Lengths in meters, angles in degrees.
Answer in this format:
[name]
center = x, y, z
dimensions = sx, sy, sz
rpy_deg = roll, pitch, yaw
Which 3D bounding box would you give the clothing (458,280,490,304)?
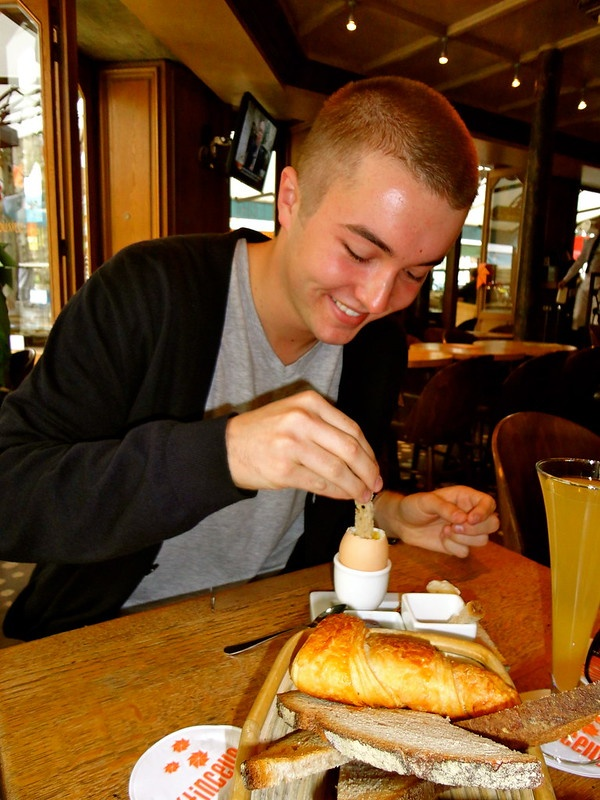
[clothing]
center = 3.347, -2.250, 12.377
dimensions = 0.384, 0.592, 0.689
rpy_deg = 8, 19, 31

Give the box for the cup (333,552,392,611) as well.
[cup]
center = 0.106, 0.292, 1.025
dimensions = 0.078, 0.064, 0.071
rpy_deg = 5, 12, -1

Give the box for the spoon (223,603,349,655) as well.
[spoon]
center = -0.022, 0.349, 0.943
dimensions = 0.195, 0.036, 0.026
rpy_deg = -17, 17, -15

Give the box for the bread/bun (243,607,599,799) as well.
[bread/bun]
center = 0.106, 0.243, 0.576
dimensions = 0.225, 0.071, 0.182
rpy_deg = 4, 12, 27
